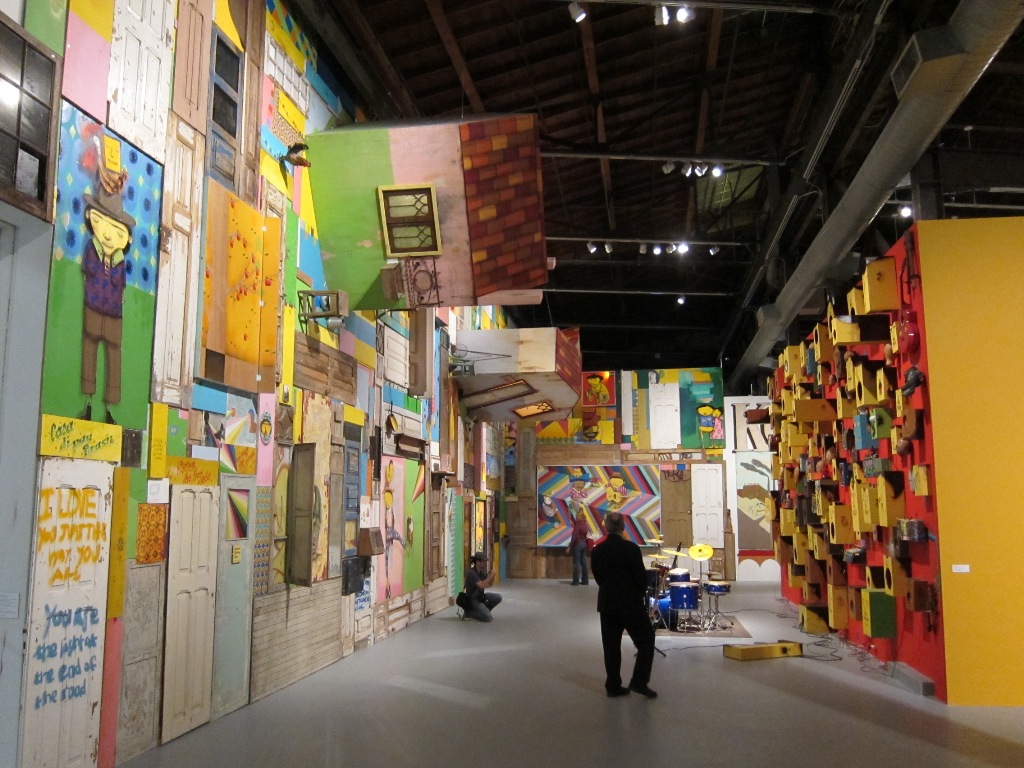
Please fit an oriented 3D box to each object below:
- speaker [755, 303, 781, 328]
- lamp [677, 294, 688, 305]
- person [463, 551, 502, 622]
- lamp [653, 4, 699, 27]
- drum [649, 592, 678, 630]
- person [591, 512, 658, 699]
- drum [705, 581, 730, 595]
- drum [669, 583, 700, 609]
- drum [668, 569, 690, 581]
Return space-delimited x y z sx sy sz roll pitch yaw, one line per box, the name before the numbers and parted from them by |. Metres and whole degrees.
speaker | 4.451 -1.197 13.460 0.248 0.329 0.696 1 -6 -1
lamp | 3.922 -1.959 17.853 0.241 0.283 0.459 9 17 12
person | -0.488 2.977 11.410 0.583 0.912 0.929 1 -6 -1
lamp | 1.742 -3.916 8.199 0.458 0.135 0.435 4 9 32
drum | 2.009 3.124 10.503 0.437 0.528 0.429 4 -10 -42
person | 1.060 2.062 7.261 0.592 1.661 0.481 -1 -6 23
drum | 2.810 2.822 10.720 0.418 0.195 0.488 1 -12 -2
drum | 2.312 2.816 10.244 0.389 0.365 0.219 2 -5 -12
drum | 2.270 2.586 10.479 0.273 0.122 0.420 0 -6 12
